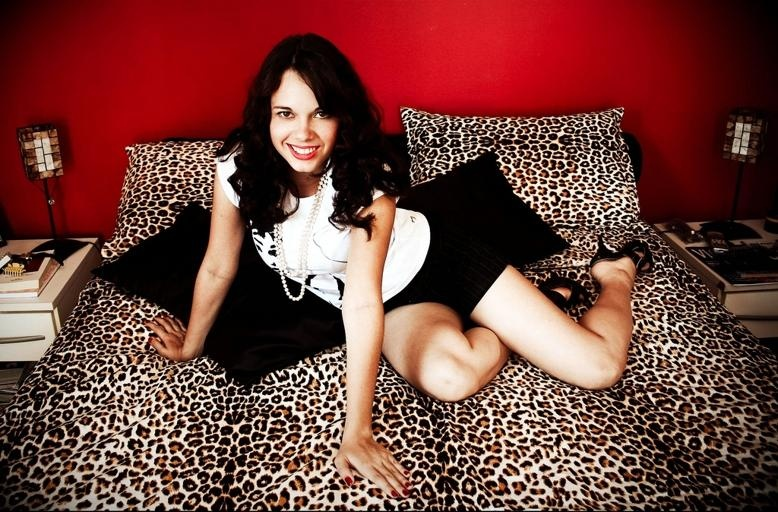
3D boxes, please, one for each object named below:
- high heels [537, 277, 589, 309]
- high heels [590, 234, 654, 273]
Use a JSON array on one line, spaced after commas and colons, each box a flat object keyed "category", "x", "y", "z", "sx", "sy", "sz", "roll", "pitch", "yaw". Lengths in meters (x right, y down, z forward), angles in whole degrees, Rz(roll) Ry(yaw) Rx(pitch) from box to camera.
[{"category": "high heels", "x": 0.856, "y": 0.172, "z": 2.495, "sx": 0.305, "sy": 0.117, "sz": 0.126, "roll": 23, "pitch": -2, "yaw": -18}, {"category": "high heels", "x": 1.222, "y": -0.031, "z": 2.661, "sx": 0.388, "sy": 0.160, "sz": 0.158, "roll": -8, "pitch": 34, "yaw": -20}]
